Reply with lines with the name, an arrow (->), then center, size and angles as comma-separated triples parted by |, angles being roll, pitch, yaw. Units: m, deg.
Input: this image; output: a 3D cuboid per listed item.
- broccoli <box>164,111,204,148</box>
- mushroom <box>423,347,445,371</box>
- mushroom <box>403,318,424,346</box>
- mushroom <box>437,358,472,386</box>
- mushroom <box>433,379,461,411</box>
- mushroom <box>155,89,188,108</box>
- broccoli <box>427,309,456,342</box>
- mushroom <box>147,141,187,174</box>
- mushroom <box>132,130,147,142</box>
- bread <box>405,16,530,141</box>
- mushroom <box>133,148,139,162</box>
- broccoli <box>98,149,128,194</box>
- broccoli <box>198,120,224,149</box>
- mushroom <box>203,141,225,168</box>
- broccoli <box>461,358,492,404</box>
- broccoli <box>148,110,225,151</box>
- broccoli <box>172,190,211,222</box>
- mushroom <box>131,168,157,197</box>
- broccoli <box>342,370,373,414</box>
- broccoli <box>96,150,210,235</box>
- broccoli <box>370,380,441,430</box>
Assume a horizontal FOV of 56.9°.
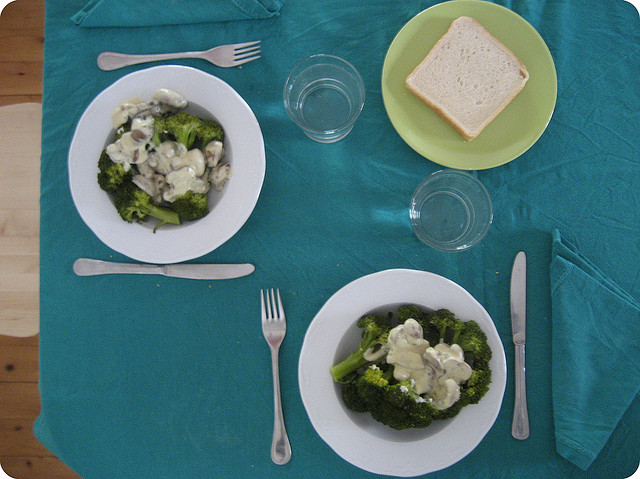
broccoli -> -0.569, -0.471, 2.521 | 0.126, 0.141, 0.123 | -7, 40, -6
mushroom -> 0.455, 0.476, 2.363 | 0.061, 0.039, 0.095 | -37, 88, 10
mushroom -> 0.379, 0.379, 2.425 | 0.070, 0.035, 0.105 | -8, 85, 1
mushroom -> 0.549, 0.530, 2.325 | 0.102, 0.032, 0.117 | 0, 95, -1
mushroom -> 0.507, 0.624, 2.356 | 0.083, 0.042, 0.116 | 10, 76, 50
mushroom -> -0.621, -0.586, 2.472 | 0.089, 0.071, 0.035 | 25, 108, 24
broccoli -> 0.501, 0.325, 2.408 | 0.088, 0.124, 0.113 | 6, 31, 9
mushroom -> -0.629, -0.329, 2.522 | 0.144, 0.062, 0.202 | -11, 43, 4
mushroom -> -0.748, -0.426, 2.440 | 0.055, 0.026, 0.038 | 11, 72, 3
bread -> 0.626, -0.671, 2.499 | 0.402, 0.160, 0.410 | 42, 77, 11
mushroom -> -0.765, -0.348, 2.459 | 0.013, 0.010, 0.063 | 14, 97, -12
broccoli -> -0.874, -0.273, 2.457 | 0.136, 0.075, 0.127 | 31, 88, 43
broccoli -> -0.452, -0.449, 2.496 | 0.090, 0.090, 0.101 | 28, 71, -1
mushroom -> -0.450, -0.356, 2.487 | 0.077, 0.042, 0.100 | 1, 90, 15
broccoli -> 0.636, 0.579, 2.444 | 0.126, 0.082, 0.172 | 24, 57, -30
broccoli -> -0.557, -0.456, 2.465 | 0.212, 0.141, 0.193 | -21, 43, -22
broccoli -> -0.539, -0.134, 2.462 | 0.119, 0.073, 0.122 | 6, 105, -1
mushroom -> -0.728, -0.239, 2.483 | 0.114, 0.029, 0.092 | 26, 71, -5
broccoli -> 0.147, 0.628, 2.443 | 0.130, 0.050, 0.170 | 5, 97, 35
broccoli -> -0.629, -0.160, 2.427 | 0.245, 0.452, 0.171 | 8, 78, -1
broccoli -> 0.327, 0.674, 2.346 | 0.199, 0.188, 0.112 | -12, 27, 14
